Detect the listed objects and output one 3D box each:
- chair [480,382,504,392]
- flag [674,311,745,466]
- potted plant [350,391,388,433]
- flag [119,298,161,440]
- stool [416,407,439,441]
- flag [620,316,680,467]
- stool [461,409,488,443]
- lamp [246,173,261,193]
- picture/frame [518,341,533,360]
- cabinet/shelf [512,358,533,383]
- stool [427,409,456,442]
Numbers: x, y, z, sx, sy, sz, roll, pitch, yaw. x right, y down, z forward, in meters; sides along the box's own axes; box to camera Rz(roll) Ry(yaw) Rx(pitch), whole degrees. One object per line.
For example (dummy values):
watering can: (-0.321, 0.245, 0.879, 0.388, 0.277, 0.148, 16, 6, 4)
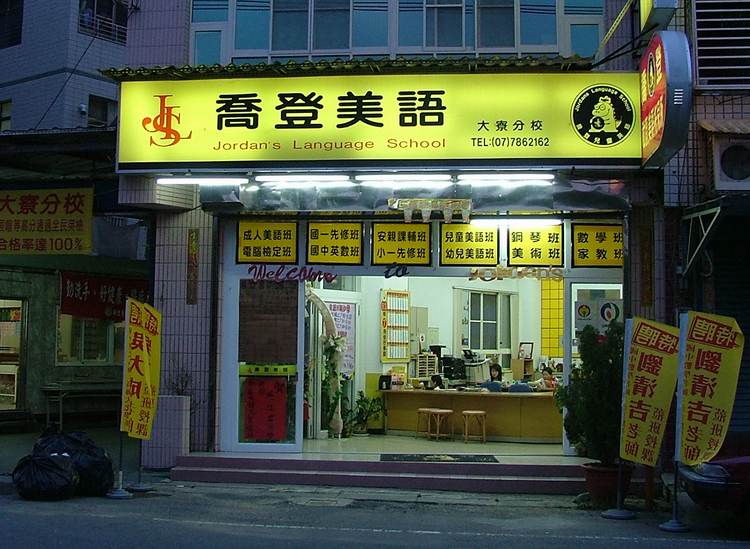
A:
chair: (2.112, 1.985, 18.028, 0.220, 0.131, 0.216, 4, -6, -41)
flag: (4.236, 1.471, 12.933, 0.769, 1.932, 0.552, 3, 8, 15)
potted plant: (-0.131, 2.556, 18.548, 0.652, 0.721, 0.779, 2, -12, -6)
flag: (-3.316, 1.358, 14.412, 0.752, 2.068, 0.351, -7, 11, -44)
stool: (0.899, 2.655, 18.251, 0.487, 0.644, 0.465, 1, -1, 28)
flag: (3.599, 1.531, 13.347, 0.664, 1.881, 0.368, 3, 8, 14)
stool: (1.724, 2.607, 17.711, 0.427, 0.547, 0.502, 1, 8, 4)
lamp: (-1.877, -1.386, 15.417, 0.281, 0.304, 0.550, 0, 8, -8)
picture/frame: (3.267, 1.661, 22.054, 0.282, 0.296, 0.442, 1, 8, 4)
cabinet/shelf: (3.184, 2.000, 21.602, 0.418, 0.669, 0.766, -4, -7, 29)
stool: (1.160, 2.632, 18.005, 0.477, 0.551, 0.432, 1, 8, 4)
